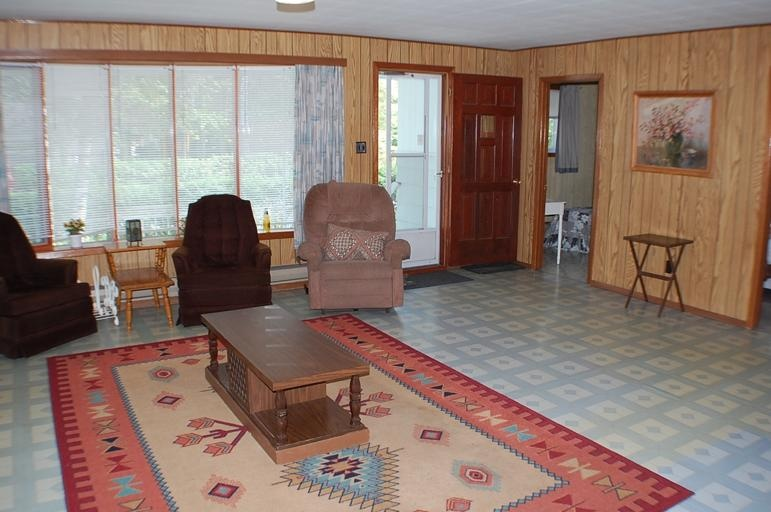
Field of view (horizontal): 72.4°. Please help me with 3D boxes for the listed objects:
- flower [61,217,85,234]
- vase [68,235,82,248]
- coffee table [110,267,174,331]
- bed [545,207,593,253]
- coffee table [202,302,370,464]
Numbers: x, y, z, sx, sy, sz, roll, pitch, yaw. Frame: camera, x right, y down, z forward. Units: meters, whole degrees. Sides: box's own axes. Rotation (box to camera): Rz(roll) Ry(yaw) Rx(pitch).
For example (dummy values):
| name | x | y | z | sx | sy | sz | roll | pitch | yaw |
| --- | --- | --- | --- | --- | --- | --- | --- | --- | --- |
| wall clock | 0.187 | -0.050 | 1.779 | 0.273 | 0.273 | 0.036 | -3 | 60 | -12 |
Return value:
| name | x | y | z | sx | sy | sz | roll | pitch | yaw |
| --- | --- | --- | --- | --- | --- | --- | --- | --- | --- |
| flower | -3.676 | -0.364 | 6.213 | 0.242 | 0.182 | 0.222 | -3 | 4 | -32 |
| vase | -3.666 | -0.179 | 6.326 | 0.184 | 0.125 | 0.156 | 1 | 8 | 1 |
| coffee table | -2.852 | 0.460 | 6.150 | 0.664 | 0.454 | 0.921 | -5 | 18 | -27 |
| bed | 3.300 | -0.446 | 9.490 | 0.983 | 0.538 | 0.910 | 4 | 6 | 30 |
| coffee table | -0.927 | 0.987 | 4.538 | 1.000 | 0.541 | 1.855 | -4 | 12 | -30 |
